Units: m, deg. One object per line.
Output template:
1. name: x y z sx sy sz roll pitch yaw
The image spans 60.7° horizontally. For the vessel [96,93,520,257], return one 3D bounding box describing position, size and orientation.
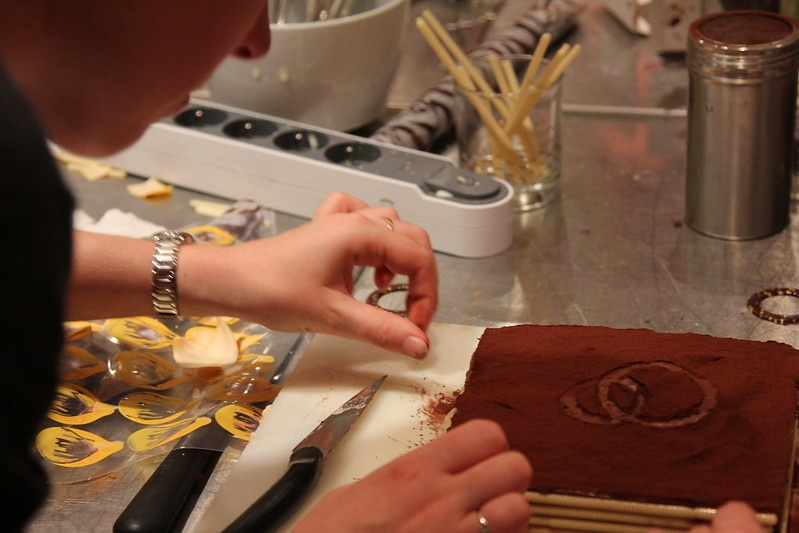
1. vessel: -0.158 -0.154 1.195 0.832 0.123 0.135 13 34 21
